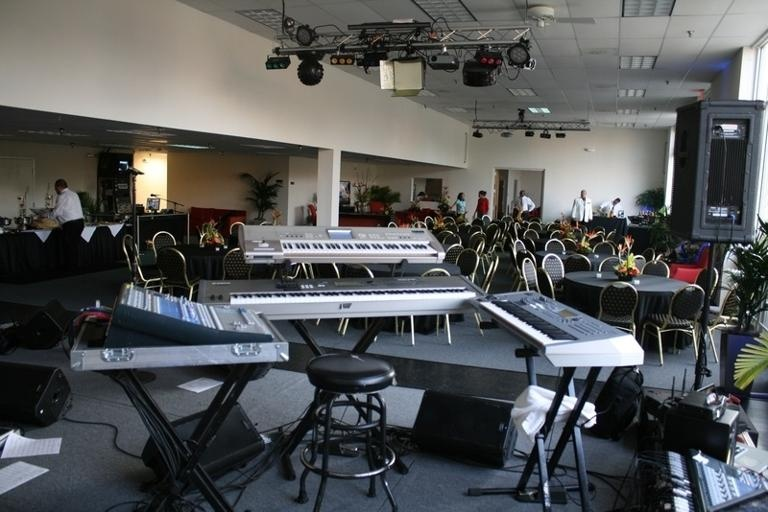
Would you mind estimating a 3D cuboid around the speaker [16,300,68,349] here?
[{"bbox_3d":[-3.796,0.784,5.574,0.635,0.559,0.293,2,9,8],"label":"speaker"}]

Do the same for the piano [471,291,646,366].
[{"bbox_3d":[1.148,0.522,3.367,0.637,0.316,1.042,-4,10,-25],"label":"piano"}]

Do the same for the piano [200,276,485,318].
[{"bbox_3d":[-0.287,0.337,3.808,2.132,0.279,0.542,-1,9,-12],"label":"piano"}]

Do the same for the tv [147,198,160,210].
[{"bbox_3d":[-6.363,-1.445,13.659,0.422,0.107,0.463,5,26,-12],"label":"tv"}]

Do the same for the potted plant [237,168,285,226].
[{"bbox_3d":[-3.420,-1.748,15.406,1.418,1.785,1.638,1,2,27],"label":"potted plant"}]

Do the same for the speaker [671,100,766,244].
[{"bbox_3d":[2.837,-0.716,4.219,0.551,1.165,0.434,2,9,11],"label":"speaker"}]

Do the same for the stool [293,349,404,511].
[{"bbox_3d":[-0.275,1.087,3.729,0.953,1.282,0.928,1,12,-9],"label":"stool"}]

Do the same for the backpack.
[{"bbox_3d":[1.986,1.218,4.234,0.535,0.661,0.242,-5,11,-34],"label":"backpack"}]

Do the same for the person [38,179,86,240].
[{"bbox_3d":[-6.090,-0.881,9.449,0.535,1.137,0.416,-2,9,-17],"label":"person"}]

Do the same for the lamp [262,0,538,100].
[{"bbox_3d":[0.273,-3.050,7.636,3.872,1.225,2.408,-1,9,-10],"label":"lamp"}]

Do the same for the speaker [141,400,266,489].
[{"bbox_3d":[-1.237,1.138,3.636,0.794,0.394,0.575,-14,33,-39],"label":"speaker"}]
